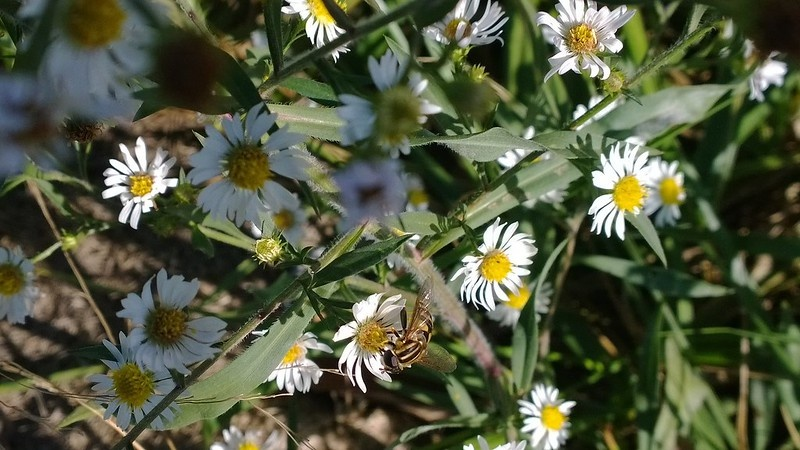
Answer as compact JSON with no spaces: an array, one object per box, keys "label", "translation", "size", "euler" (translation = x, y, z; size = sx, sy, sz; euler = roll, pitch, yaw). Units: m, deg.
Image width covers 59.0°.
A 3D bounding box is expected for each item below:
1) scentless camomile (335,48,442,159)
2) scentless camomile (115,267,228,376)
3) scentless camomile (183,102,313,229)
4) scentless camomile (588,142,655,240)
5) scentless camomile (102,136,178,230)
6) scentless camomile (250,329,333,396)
[{"label":"scentless camomile","translation":[-0.046,-0.295,1.782],"size":[0.108,0.262,0.261],"euler":[34,38,30]},{"label":"scentless camomile","translation":[-0.722,0.272,2.235],"size":[0.309,0.125,0.341],"euler":[-23,93,-3]},{"label":"scentless camomile","translation":[-0.461,-0.155,2.044],"size":[0.335,0.109,0.338],"euler":[27,45,-42]},{"label":"scentless camomile","translation":[0.704,-0.098,2.287],"size":[0.067,0.199,0.206],"euler":[16,103,-23]},{"label":"scentless camomile","translation":[-0.837,-0.132,2.399],"size":[0.261,0.112,0.289],"euler":[36,96,8]},{"label":"scentless camomile","translation":[-0.348,0.482,2.429],"size":[0.228,0.086,0.247],"euler":[24,98,-4]}]
